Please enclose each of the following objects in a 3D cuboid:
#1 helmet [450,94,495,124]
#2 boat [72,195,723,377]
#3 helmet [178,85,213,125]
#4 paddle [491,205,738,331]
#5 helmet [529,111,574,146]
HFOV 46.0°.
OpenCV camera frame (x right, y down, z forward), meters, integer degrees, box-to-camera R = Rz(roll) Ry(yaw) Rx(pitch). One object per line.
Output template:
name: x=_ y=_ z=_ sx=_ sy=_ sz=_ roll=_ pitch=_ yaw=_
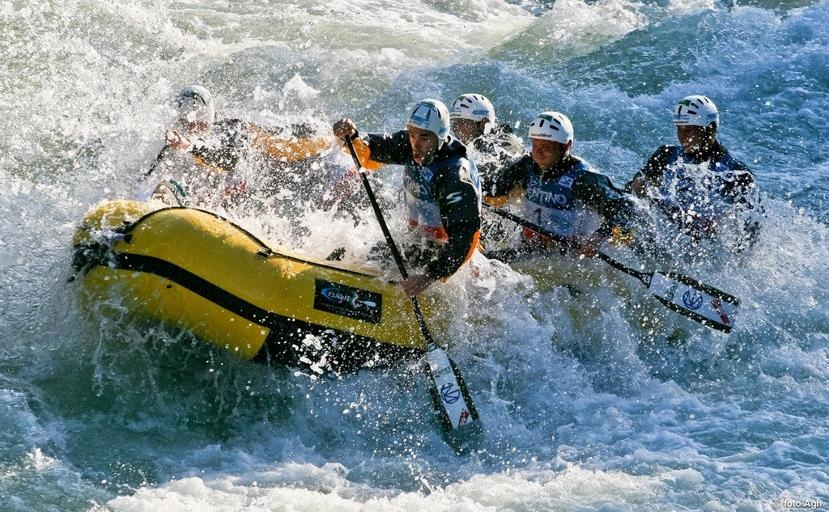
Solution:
helmet: x=0.899 y=-2.308 z=15.186 sx=0.594 sy=0.436 sz=0.449 roll=32 pitch=83 yaw=-25
boat: x=-1.988 y=0.453 z=12.929 sx=4.684 sy=2.198 sz=0.901 roll=16 pitch=103 yaw=-24
helmet: x=-3.389 y=-2.335 z=15.099 sx=0.546 sy=0.357 sz=0.612 roll=-5 pitch=77 yaw=-13
paddle: x=2.788 y=0.202 z=14.069 sx=4.003 sy=0.155 sz=0.465 roll=26 pitch=91 yaw=7
helmet: x=1.991 y=-1.799 z=14.005 sx=0.574 sy=0.427 sz=0.422 roll=37 pitch=69 yaw=-45
